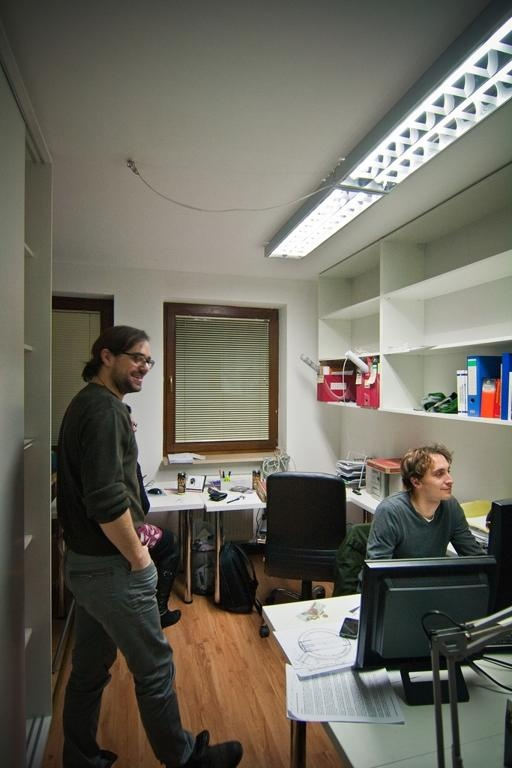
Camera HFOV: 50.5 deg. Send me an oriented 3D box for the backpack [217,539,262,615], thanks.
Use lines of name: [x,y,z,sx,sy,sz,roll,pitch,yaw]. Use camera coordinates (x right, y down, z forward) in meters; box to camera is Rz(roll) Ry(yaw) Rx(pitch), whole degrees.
backpack: [-0.082,1.212,3.428,0.261,0.505,0.367,-2,-8,2]

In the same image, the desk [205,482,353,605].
desk: [0.168,0.728,2.680,0.444,0.818,0.478,2,-3,5]

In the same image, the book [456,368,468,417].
book: [0.886,0.036,2.356,0.044,0.193,0.178,4,5,13]

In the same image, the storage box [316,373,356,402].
storage box: [0.584,0.034,3.918,0.303,0.239,0.172,1,-1,6]

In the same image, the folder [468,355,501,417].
folder: [0.929,0.010,2.239,0.122,0.253,0.195,5,5,14]

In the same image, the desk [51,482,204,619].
desk: [-0.718,0.923,3.498,0.744,0.779,0.773,1,-2,-15]

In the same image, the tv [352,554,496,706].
tv: [0.420,0.620,1.353,0.329,0.335,0.146,1,5,-8]
